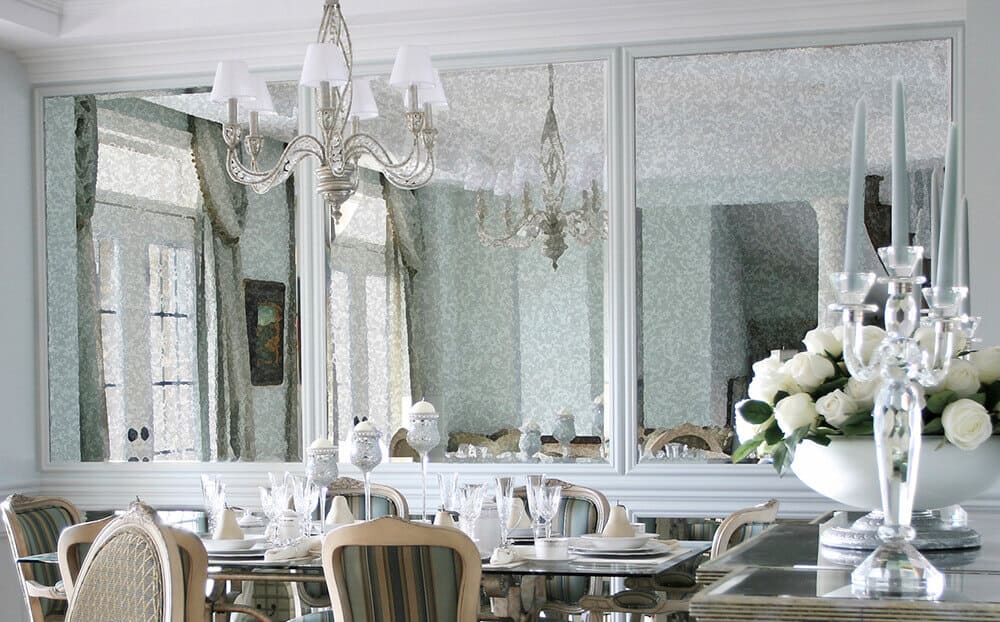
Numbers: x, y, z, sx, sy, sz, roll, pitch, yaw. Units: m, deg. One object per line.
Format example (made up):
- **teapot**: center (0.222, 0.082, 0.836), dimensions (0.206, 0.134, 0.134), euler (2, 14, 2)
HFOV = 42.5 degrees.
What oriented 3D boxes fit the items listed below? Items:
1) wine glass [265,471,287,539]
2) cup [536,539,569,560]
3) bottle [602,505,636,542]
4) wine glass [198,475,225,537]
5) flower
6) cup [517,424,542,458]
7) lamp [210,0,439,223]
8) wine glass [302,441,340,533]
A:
- **wine glass**: center (-1.075, 0.939, 6.200), dimensions (0.117, 0.298, 0.227), euler (-2, -5, -11)
- **cup**: center (0.229, 1.059, 5.765), dimensions (0.100, 0.070, 0.099), euler (0, -6, 0)
- **bottle**: center (0.545, 0.992, 6.016), dimensions (0.132, 0.106, 0.139), euler (2, -6, 0)
- **wine glass**: center (-1.401, 0.953, 6.327), dimensions (0.103, 0.298, 0.492), euler (-2, -7, -14)
- **flower**: center (1.207, 0.285, 4.268), dimensions (0.547, 0.364, 0.565), euler (-17, -10, 37)
- **cup**: center (0.153, 0.714, 7.072), dimensions (0.153, 0.209, 0.161), euler (-1, -5, 0)
- **lamp**: center (-0.886, -1.087, 6.864), dimensions (1.037, 1.213, 1.052), euler (-8, -15, 33)
- **wine glass**: center (-0.862, 0.839, 6.268), dimensions (0.138, 0.422, 0.274), euler (-2, -5, -9)
